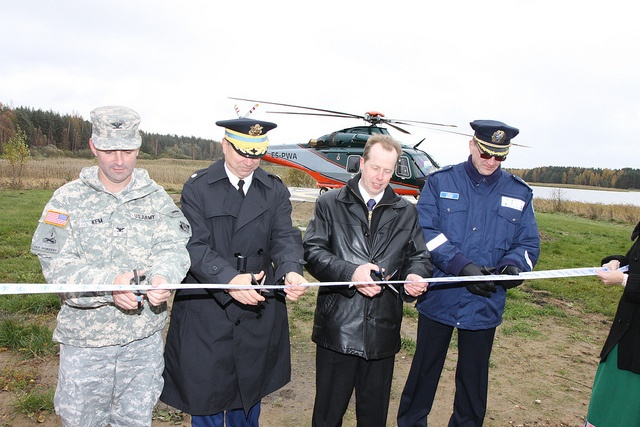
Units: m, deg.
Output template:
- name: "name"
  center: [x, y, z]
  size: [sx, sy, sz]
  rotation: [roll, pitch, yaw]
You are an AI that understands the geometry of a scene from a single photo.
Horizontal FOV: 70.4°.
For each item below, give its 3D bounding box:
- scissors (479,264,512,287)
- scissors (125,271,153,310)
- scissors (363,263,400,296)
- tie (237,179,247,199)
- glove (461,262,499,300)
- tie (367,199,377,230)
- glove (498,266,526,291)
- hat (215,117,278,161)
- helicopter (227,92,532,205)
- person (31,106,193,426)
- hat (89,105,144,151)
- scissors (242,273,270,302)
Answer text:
- name: "scissors"
  center: [2.152, 0.721, 5.315]
  size: [0.377, 0.250, 0.092]
  rotation: [-2, -25, 10]
- name: "scissors"
  center: [-1.793, 0.759, 4.480]
  size: [0.228, 0.367, 0.086]
  rotation: [19, -23, -31]
- name: "scissors"
  center: [0.723, 0.728, 5.037]
  size: [0.301, 0.318, 0.097]
  rotation: [37, 7, 16]
- name: "tie"
  center: [-0.880, -0.271, 5.147]
  size: [0.052, 0.215, 0.056]
  rotation: [-1, -8, -19]
- name: "glove"
  center: [1.867, 0.799, 5.323]
  size: [0.272, 0.219, 0.397]
  rotation: [-11, 12, -15]
- name: "tie"
  center: [0.609, 0.002, 5.257]
  size: [0.099, 0.323, 0.089]
  rotation: [1, -4, -1]
- name: "glove"
  center: [2.233, 0.778, 5.346]
  size: [0.263, 0.346, 0.310]
  rotation: [8, 12, 19]
- name: "hat"
  center: [-0.814, -0.836, 5.105]
  size: [0.618, 0.434, 0.250]
  rotation: [1, 12, -13]
- name: "helicopter"
  center: [0.684, -2.487, 18.014]
  size: [6.443, 2.349, 5.507]
  rotation: [13, 9, 37]
- name: "person"
  center: [-2.119, 0.613, 4.673]
  size: [1.419, 3.341, 0.859]
  rotation: [0, 12, -18]
- name: "hat"
  center: [-2.128, -0.939, 4.754]
  size: [0.506, 0.197, 0.697]
  rotation: [-10, 44, -25]
- name: "scissors"
  center: [-0.718, 0.809, 4.888]
  size: [0.299, 0.295, 0.118]
  rotation: [-7, -13, -7]
